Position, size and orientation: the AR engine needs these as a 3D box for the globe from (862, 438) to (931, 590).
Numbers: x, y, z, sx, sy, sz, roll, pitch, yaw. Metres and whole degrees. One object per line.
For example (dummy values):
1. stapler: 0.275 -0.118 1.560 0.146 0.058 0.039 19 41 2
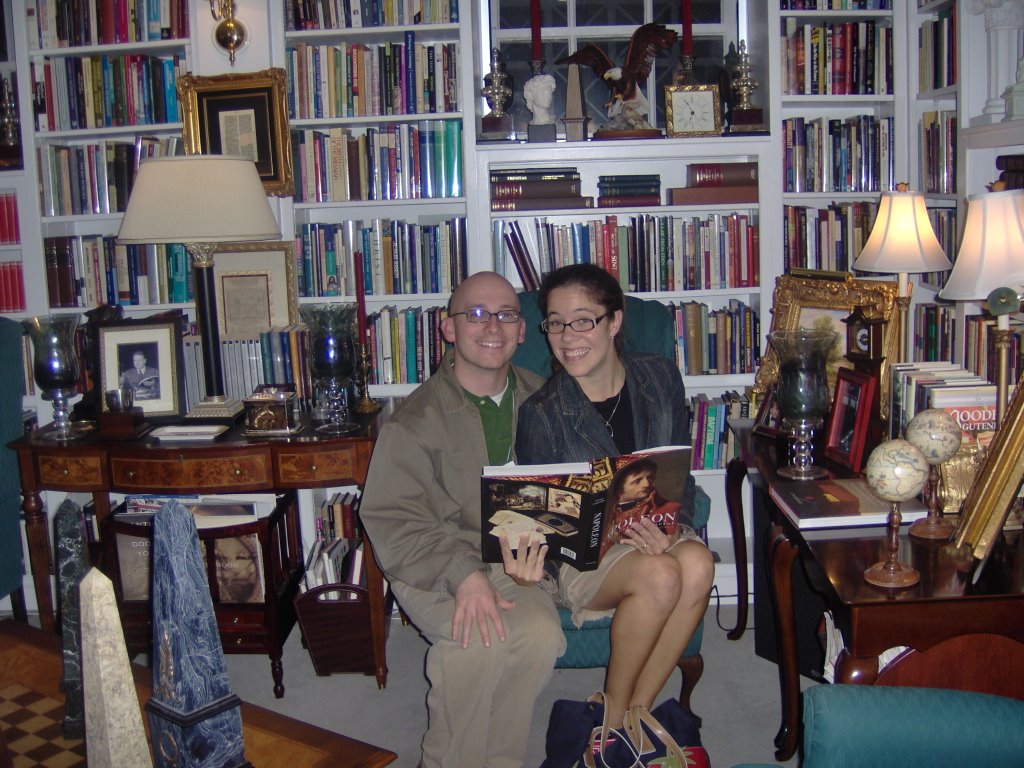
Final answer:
1. globe: 0.891 0.300 2.173 0.127 0.313 0.169 1 8 23

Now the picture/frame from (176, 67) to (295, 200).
1. picture/frame: -1.028 -0.938 3.468 0.564 0.651 0.078 1 10 10

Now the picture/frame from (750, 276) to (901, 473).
1. picture/frame: 0.948 -0.021 2.790 0.085 0.644 0.567 4 3 -25

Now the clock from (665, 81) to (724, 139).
1. clock: 0.700 -1.063 3.625 0.239 0.260 0.042 0 3 1

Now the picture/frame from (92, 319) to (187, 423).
1. picture/frame: -1.330 -0.047 3.298 0.332 0.438 0.042 1 3 -12

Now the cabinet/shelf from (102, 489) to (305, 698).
1. cabinet/shelf: -1.065 0.697 3.524 0.554 0.725 0.779 0 12 0

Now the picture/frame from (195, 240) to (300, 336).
1. picture/frame: -1.016 -0.380 3.585 0.362 0.432 0.044 1 15 4

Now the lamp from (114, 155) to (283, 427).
1. lamp: -1.063 -0.329 3.223 0.516 0.896 0.312 -4 8 -15
